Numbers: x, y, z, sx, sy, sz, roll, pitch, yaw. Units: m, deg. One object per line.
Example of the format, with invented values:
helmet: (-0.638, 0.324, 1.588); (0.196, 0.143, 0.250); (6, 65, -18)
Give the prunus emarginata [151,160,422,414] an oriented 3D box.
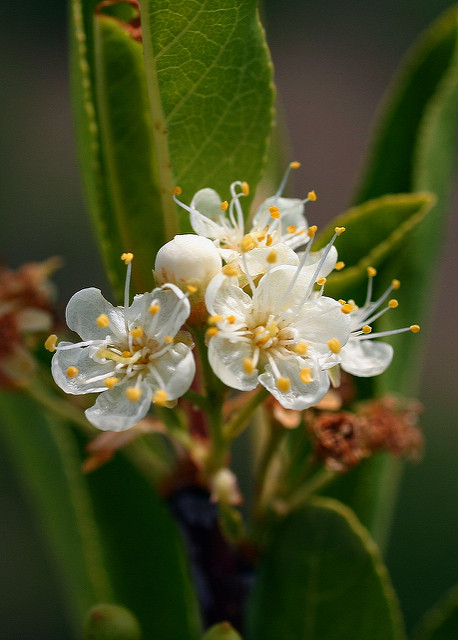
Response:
prunus emarginata: (0.073, -0.034, 0.659); (0.285, 0.208, 0.265); (1, 26, -3)
